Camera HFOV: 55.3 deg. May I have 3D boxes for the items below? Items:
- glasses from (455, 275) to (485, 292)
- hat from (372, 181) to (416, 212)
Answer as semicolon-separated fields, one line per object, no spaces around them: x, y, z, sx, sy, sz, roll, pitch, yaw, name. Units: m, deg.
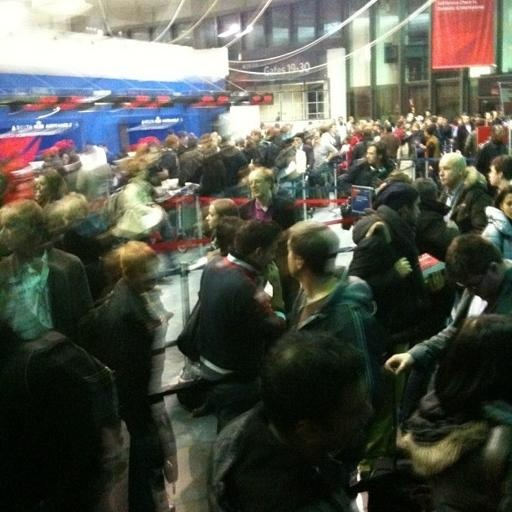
0.894;0.108;2.008;0.065;0.031;0.068;-24;-10;38;glasses
0.939;-0.399;3.333;0.247;0.228;0.189;16;20;35;hat
